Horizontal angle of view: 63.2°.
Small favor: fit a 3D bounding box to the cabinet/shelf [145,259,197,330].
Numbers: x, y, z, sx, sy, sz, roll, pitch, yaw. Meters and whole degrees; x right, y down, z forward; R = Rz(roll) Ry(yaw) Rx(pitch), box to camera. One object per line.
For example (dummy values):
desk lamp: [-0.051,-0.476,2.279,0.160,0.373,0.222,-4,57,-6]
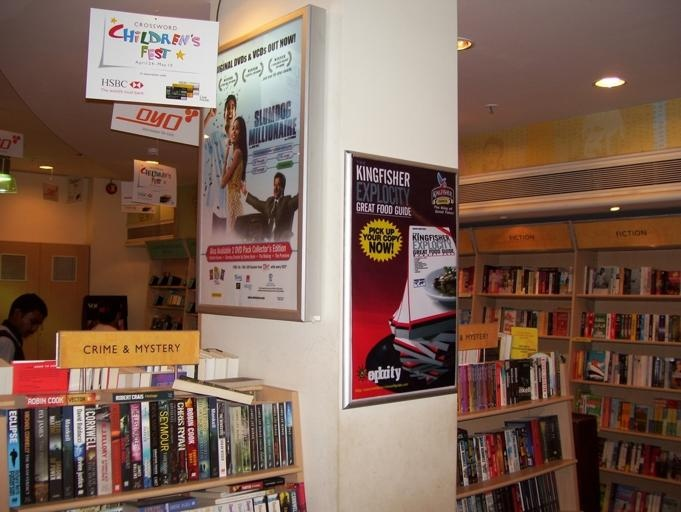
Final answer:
cabinet/shelf: [-3.001,0.713,9.787,0.420,1.283,1.271,1,1,-43]
